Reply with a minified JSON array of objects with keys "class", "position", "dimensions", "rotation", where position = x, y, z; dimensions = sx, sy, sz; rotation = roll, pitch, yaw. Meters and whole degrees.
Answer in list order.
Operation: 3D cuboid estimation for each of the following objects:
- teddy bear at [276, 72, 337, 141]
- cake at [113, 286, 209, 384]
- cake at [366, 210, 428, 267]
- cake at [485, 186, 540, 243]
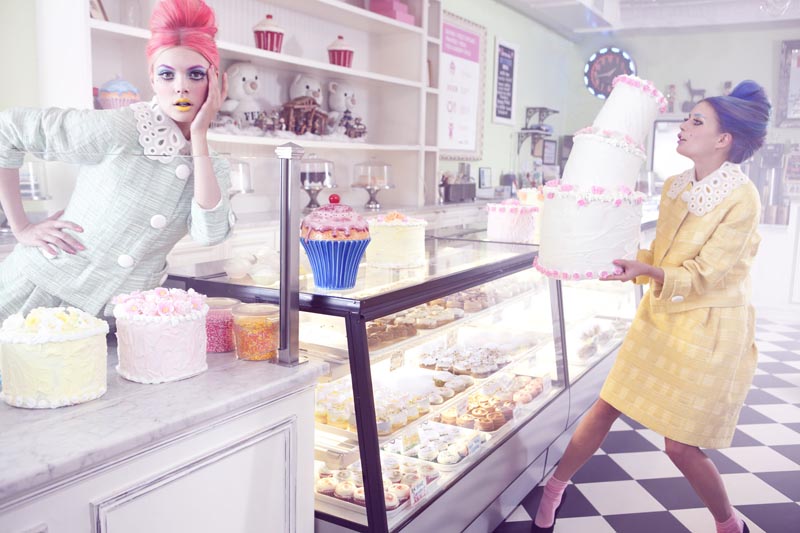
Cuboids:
[{"class":"teddy bear","position":[-0.728,-1.211,3.979],"dimensions":[0.354,0.427,0.304],"rotation":[-6,23,-37]},{"class":"cake","position":[-0.578,0.151,1.421],"dimensions":[0.264,0.222,0.235],"rotation":[6,17,16]},{"class":"cake","position":[-0.016,-0.121,2.115],"dimensions":[0.238,0.186,0.225],"rotation":[2,9,9]},{"class":"cake","position":[0.616,-0.287,2.917],"dimensions":[0.317,0.282,0.313],"rotation":[4,8,30]}]
